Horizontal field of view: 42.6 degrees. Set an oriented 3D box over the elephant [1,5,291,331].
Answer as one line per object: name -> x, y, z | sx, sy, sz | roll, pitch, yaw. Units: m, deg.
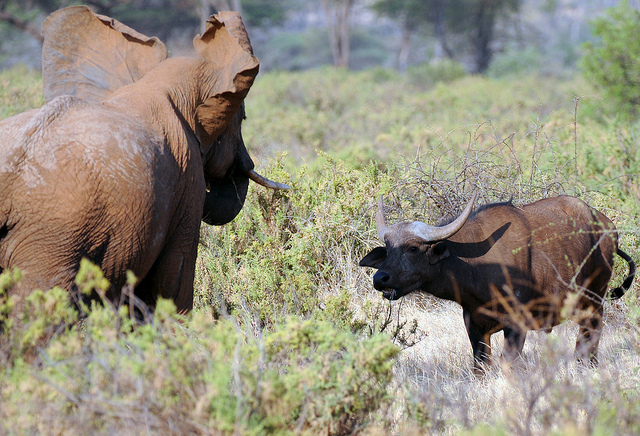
elephant -> -1.677, -0.293, 7.373 | 1.749, 2.023, 2.706 | 15, 42, 24
